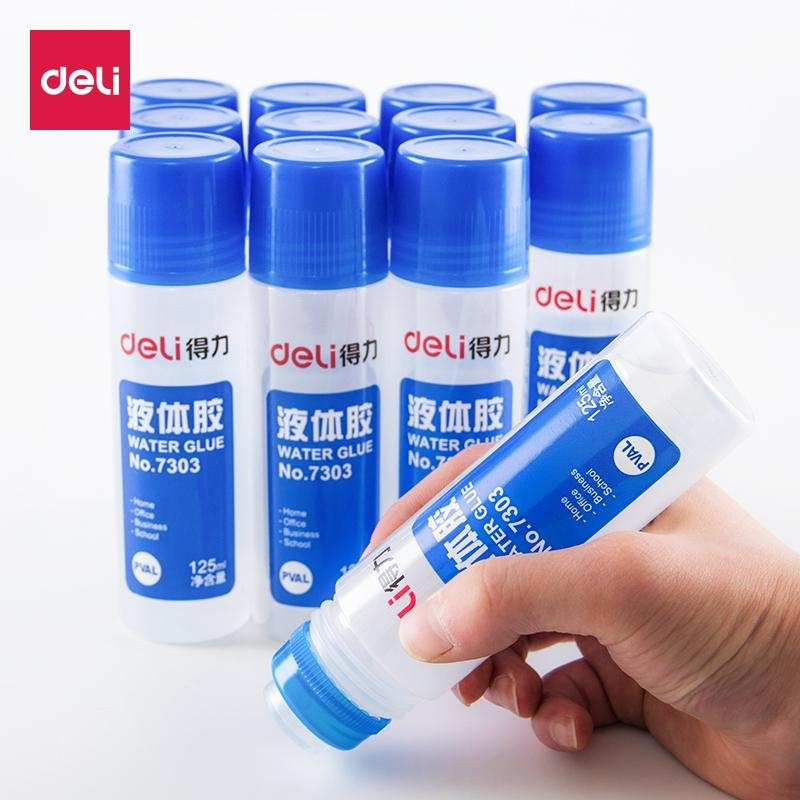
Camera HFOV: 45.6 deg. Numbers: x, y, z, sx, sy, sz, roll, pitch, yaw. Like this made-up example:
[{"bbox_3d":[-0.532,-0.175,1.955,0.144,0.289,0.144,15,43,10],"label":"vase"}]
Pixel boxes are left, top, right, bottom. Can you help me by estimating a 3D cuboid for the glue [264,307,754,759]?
[{"bbox_3d":[0.080,0.065,0.669,0.143,0.465,0.141,53,15,15],"label":"glue"}]
